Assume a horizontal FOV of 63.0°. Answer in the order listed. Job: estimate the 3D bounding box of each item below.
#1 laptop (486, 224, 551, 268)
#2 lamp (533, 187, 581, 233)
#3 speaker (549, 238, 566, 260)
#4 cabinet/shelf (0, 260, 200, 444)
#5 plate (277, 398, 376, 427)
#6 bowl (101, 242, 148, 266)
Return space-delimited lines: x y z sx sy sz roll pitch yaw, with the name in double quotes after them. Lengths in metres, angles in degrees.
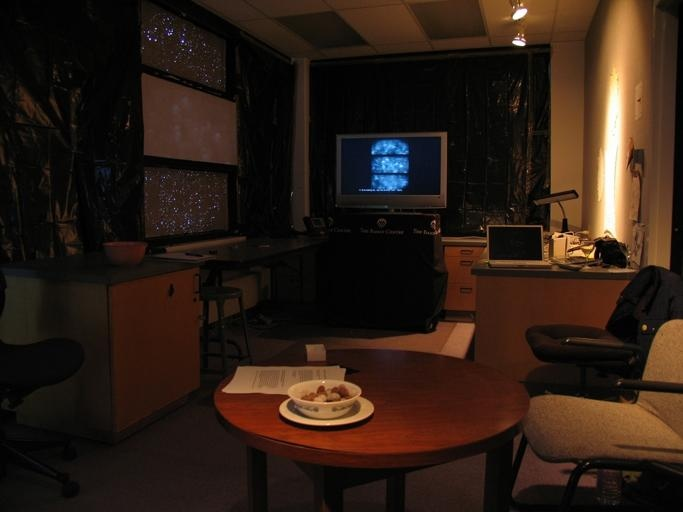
1.157 -0.070 3.737 0.379 0.278 0.278 0 0 12 "laptop"
2.166 -0.451 5.570 0.349 0.523 0.534 5 6 22 "lamp"
1.524 -0.051 3.937 0.146 0.147 0.058 -1 0 -5 "speaker"
-1.379 0.491 3.539 0.948 0.977 0.973 1 2 14 "cabinet/shelf"
-0.050 0.529 1.894 0.329 0.033 0.145 -2 14 -3 "plate"
-1.277 -0.025 3.244 0.158 0.080 0.163 0 3 0 "bowl"
